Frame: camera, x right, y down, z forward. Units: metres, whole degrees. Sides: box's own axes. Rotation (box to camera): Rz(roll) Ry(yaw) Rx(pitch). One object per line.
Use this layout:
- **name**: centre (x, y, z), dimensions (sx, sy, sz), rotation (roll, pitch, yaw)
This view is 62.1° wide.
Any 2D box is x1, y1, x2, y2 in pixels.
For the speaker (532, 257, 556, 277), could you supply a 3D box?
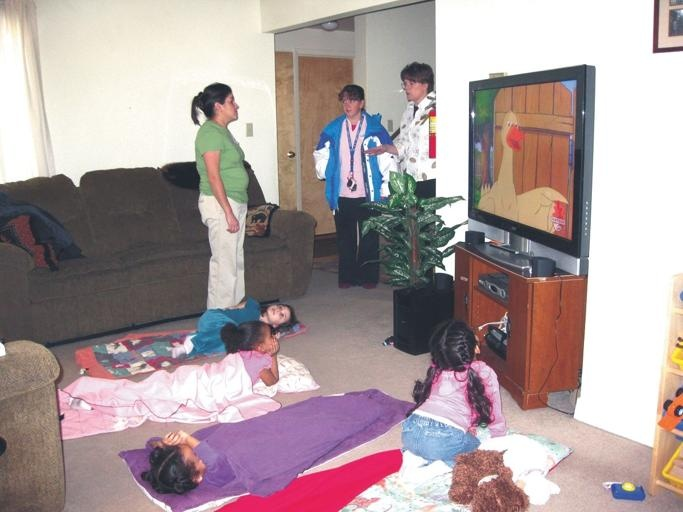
- **speaker**: centre (1.015, 0.056, 2.863), dimensions (0.101, 0.077, 0.101), rotation (-1, 7, -5)

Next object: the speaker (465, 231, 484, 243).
- **speaker**: centre (0.820, -0.121, 3.513), dimensions (0.070, 0.064, 0.097), rotation (0, 6, -15)

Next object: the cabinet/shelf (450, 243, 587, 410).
- **cabinet/shelf**: centre (0.948, 0.376, 2.953), dimensions (0.280, 0.522, 0.793), rotation (-1, 10, -8)

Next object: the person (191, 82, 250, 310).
- **person**: centre (-0.836, -0.394, 4.055), dimensions (0.360, 1.592, 0.348), rotation (-8, 16, -20)
